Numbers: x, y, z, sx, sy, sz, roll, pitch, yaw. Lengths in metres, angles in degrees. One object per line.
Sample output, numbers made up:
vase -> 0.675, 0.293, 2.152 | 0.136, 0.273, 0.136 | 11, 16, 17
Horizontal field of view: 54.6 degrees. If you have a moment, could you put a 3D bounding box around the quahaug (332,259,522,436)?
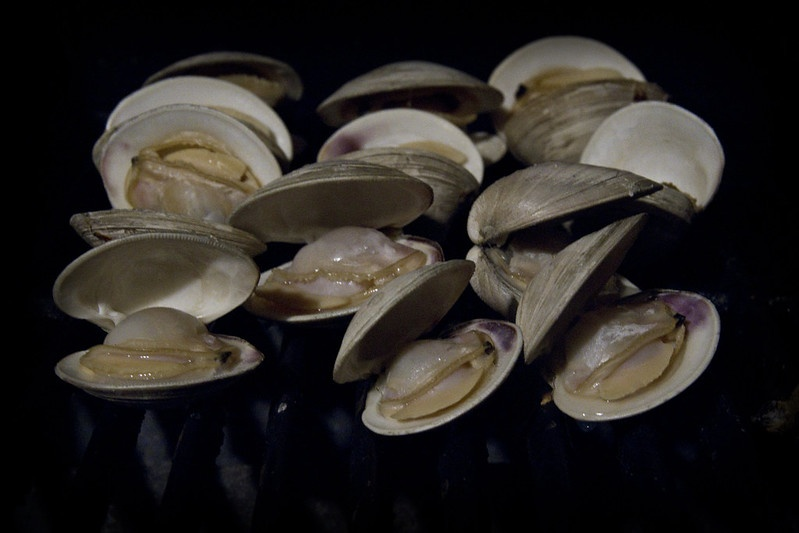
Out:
quahaug -> 0.081, 0.265, 2.328 | 0.509, 0.535, 0.194 | -18, 34, -3

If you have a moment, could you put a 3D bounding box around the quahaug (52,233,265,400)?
quahaug -> -0.765, 0.089, 2.278 | 0.418, 0.432, 0.153 | 20, 38, -30
